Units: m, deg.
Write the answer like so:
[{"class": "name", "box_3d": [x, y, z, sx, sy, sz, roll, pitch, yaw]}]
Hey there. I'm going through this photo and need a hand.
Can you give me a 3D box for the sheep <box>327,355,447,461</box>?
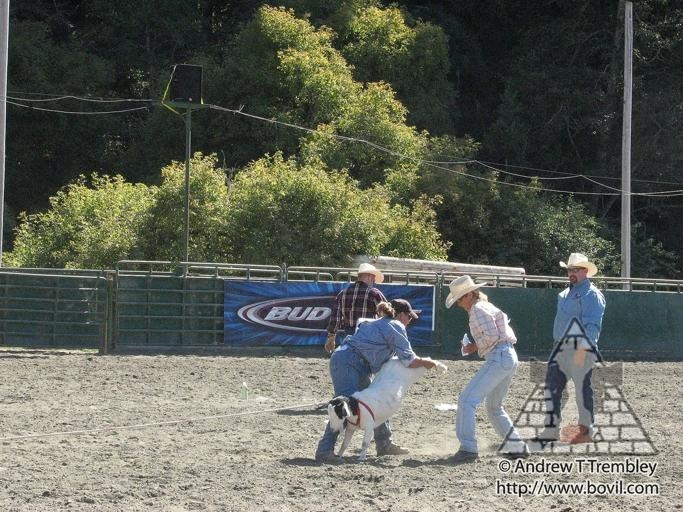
[{"class": "sheep", "box_3d": [1.248, 4.870, 49.775, 3.482, 3.256, 3.118, 21, 5, -28]}]
